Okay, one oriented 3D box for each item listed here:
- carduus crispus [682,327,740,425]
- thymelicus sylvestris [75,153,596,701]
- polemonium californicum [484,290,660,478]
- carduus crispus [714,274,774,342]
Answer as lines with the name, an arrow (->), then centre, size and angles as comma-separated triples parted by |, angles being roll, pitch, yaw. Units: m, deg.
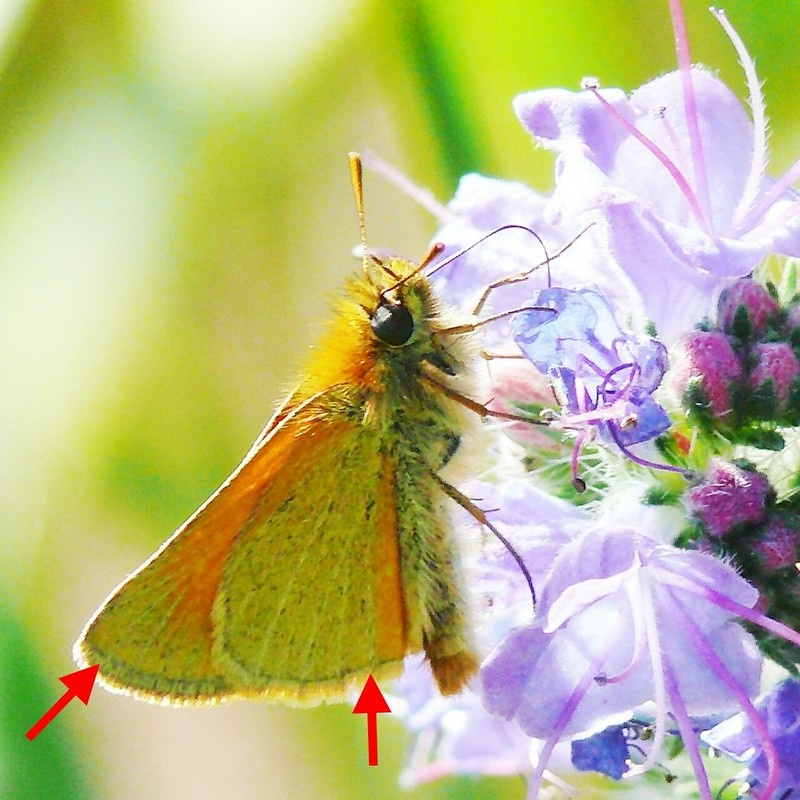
carduus crispus -> 0.541, -0.049, 2.048 | 0.091, 0.144, 0.035 | -10, 0, 44
thymelicus sylvestris -> -0.091, 0.067, 2.459 | 0.803, 1.168, 0.611 | 9, 22, 23
polemonium californicum -> 0.325, -0.062, 1.954 | 0.205, 0.333, 0.116 | -26, -1, -3
carduus crispus -> 0.600, -0.158, 2.059 | 0.063, 0.124, 0.082 | -2, -2, -1
